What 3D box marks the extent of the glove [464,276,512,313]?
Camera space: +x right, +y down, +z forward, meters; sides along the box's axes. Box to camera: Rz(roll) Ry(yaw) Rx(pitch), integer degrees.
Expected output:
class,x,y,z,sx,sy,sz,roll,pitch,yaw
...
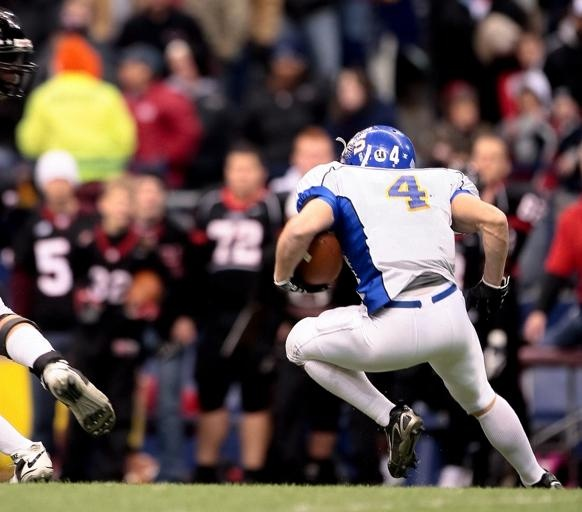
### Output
class,x,y,z,sx,sy,sz,roll,pitch,yaw
glove,0.917,0.163,4.094,0.173,0.184,0.168,-5,5,-40

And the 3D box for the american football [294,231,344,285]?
class,x,y,z,sx,sy,sz,roll,pitch,yaw
american football,0.148,0.013,3.958,0.193,0.209,0.257,12,40,24

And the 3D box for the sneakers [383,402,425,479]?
class,x,y,z,sx,sy,sz,roll,pitch,yaw
sneakers,0.508,0.827,3.916,0.157,0.322,0.280,0,-12,5

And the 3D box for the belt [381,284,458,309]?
class,x,y,z,sx,sy,sz,roll,pitch,yaw
belt,0.580,0.171,3.797,0.338,0.131,0.077,4,-12,-16

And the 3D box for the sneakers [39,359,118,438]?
class,x,y,z,sx,sy,sz,roll,pitch,yaw
sneakers,-0.940,0.585,3.728,0.463,0.169,0.212,42,6,-11
